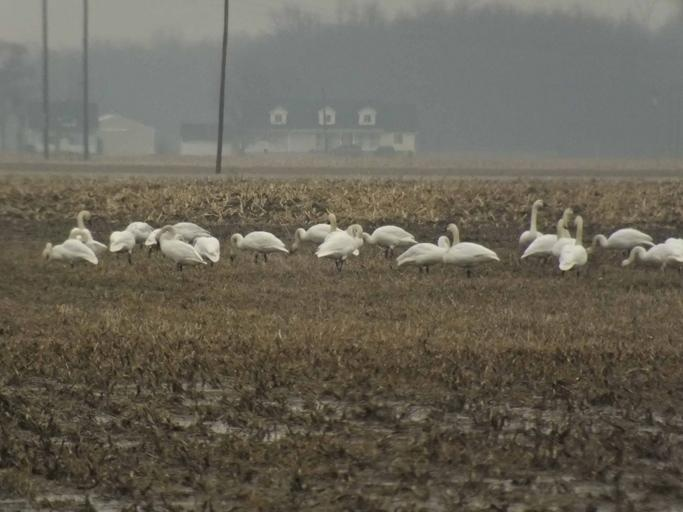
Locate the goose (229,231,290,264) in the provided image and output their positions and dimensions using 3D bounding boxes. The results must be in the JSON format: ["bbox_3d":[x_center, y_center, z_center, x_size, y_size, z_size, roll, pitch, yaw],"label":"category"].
[{"bbox_3d":[-2.853,-0.246,34.564,2.011,1.207,0.905,1,7,26],"label":"goose"}]
